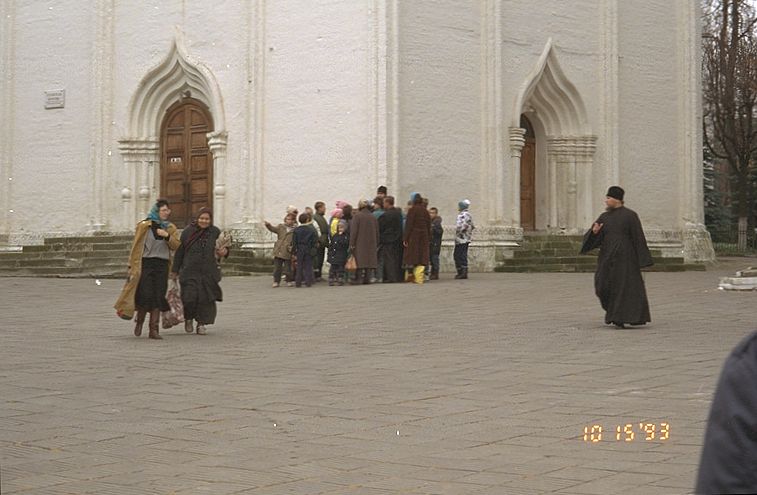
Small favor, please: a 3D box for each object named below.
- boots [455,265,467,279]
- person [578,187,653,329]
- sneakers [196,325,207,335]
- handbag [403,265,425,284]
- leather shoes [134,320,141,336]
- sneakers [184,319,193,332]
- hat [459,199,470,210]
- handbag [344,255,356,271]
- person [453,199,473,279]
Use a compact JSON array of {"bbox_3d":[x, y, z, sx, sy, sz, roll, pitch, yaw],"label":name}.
[{"bbox_3d":[2.009,0.663,29.304,0.371,0.289,0.246,3,3,26],"label":"boots"},{"bbox_3d":[4.256,0.169,21.284,1.021,2.289,1.155,-6,16,-9],"label":"person"},{"bbox_3d":[-3.130,1.495,21.038,0.170,0.137,0.393,-1,-6,-15],"label":"sneakers"},{"bbox_3d":[0.845,0.679,28.347,0.490,0.374,0.197,-2,-14,45],"label":"handbag"},{"bbox_3d":[-4.176,1.437,20.778,0.112,0.108,0.284,9,35,-8],"label":"leather shoes"},{"bbox_3d":[-3.386,1.439,21.273,0.139,0.286,0.110,-13,1,19],"label":"sneakers"},{"bbox_3d":[2.112,-1.018,29.331,0.376,0.231,0.264,10,-7,-28],"label":"hat"},{"bbox_3d":[-0.671,0.383,27.837,0.232,0.334,0.375,7,-10,-39],"label":"handbag"},{"bbox_3d":[2.062,-0.117,29.216,0.453,1.905,0.998,-2,16,4],"label":"person"}]
